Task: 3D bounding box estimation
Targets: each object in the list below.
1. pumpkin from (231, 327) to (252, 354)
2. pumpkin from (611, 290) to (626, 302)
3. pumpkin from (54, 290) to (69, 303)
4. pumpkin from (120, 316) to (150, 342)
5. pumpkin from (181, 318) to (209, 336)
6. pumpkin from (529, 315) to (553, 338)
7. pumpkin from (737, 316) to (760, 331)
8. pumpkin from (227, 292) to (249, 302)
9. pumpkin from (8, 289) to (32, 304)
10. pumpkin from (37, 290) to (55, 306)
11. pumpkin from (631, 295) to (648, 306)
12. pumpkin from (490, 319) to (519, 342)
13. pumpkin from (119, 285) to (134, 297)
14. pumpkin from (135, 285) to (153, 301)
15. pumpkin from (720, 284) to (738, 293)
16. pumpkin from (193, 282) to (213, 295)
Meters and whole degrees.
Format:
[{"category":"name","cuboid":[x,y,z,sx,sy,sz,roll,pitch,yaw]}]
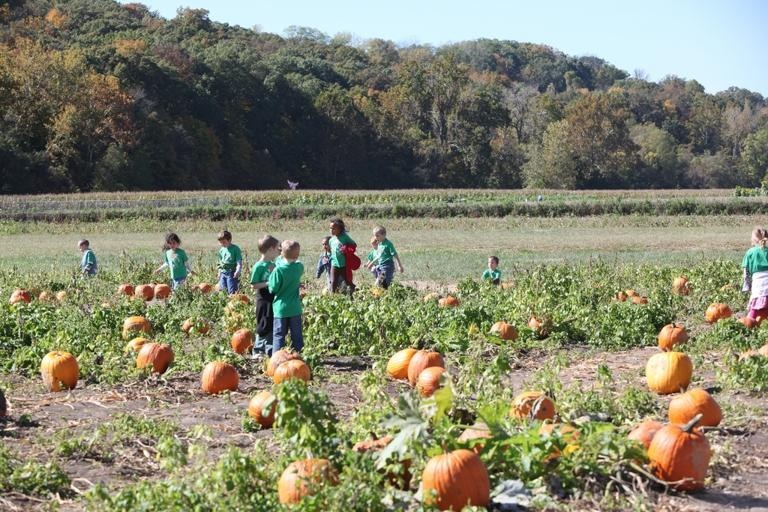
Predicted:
[{"category":"pumpkin","cuboid":[-8.994,5.375,74.488,1.215,1.385,1.343,5,1,14]},{"category":"pumpkin","cuboid":[15.622,2.565,75.996,0.841,0.594,0.658,7,15,26]},{"category":"pumpkin","cuboid":[-21.601,2.631,77.485,0.727,0.575,0.930,-9,16,-34]},{"category":"pumpkin","cuboid":[-16.059,4.478,74.458,1.328,1.482,1.378,-11,11,-36]},{"category":"pumpkin","cuboid":[-12.185,4.527,74.814,1.100,1.191,1.185,10,-30,-18]},{"category":"pumpkin","cuboid":[10.200,4.550,74.559,1.111,1.021,1.303,4,4,12]},{"category":"pumpkin","cuboid":[23.586,4.219,74.246,0.900,0.962,0.939,7,4,-27]},{"category":"pumpkin","cuboid":[-9.319,2.682,75.460,0.805,0.564,0.678,4,-2,-42]},{"category":"pumpkin","cuboid":[-24.201,2.619,76.991,0.929,0.997,0.953,-3,-2,44]},{"category":"pumpkin","cuboid":[-22.646,2.702,77.527,0.664,0.839,0.960,-8,-16,1]},{"category":"pumpkin","cuboid":[16.898,2.864,75.987,0.667,1.016,0.661,-3,7,-40]},{"category":"pumpkin","cuboid":[7.803,4.778,74.111,1.207,1.244,1.205,10,2,-38]},{"category":"pumpkin","cuboid":[-17.384,2.278,78.242,0.952,0.738,0.978,-3,14,-11]},{"category":"pumpkin","cuboid":[-16.196,2.387,77.968,0.933,1.012,1.034,2,12,0]},{"category":"pumpkin","cuboid":[23.111,2.078,76.947,1.388,0.433,0.743,-8,16,-29]},{"category":"pumpkin","cuboid":[-12.156,2.163,77.876,0.671,0.746,0.729,2,4,21]}]
